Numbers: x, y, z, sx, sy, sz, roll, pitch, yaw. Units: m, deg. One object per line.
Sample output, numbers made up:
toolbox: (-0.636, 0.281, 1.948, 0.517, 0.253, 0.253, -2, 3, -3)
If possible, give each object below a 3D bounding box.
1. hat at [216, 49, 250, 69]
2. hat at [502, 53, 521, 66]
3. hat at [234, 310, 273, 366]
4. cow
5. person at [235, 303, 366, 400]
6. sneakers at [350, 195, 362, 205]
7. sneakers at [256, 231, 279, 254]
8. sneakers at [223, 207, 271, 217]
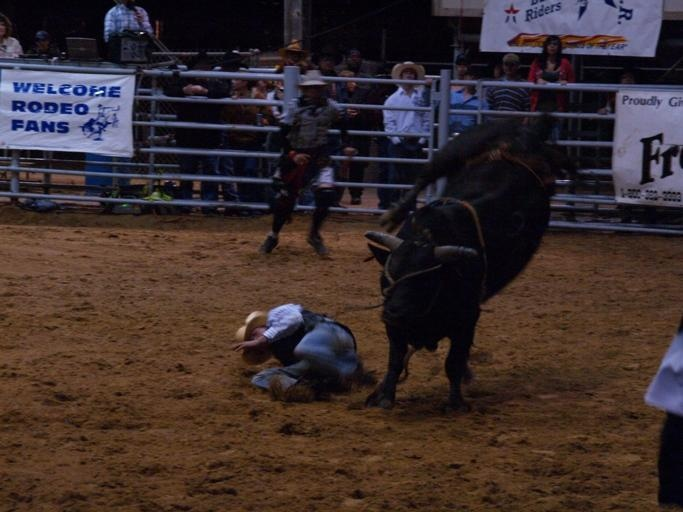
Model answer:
hat: (-1.640, -2.912, 12.586, 0.674, 0.172, 0.643, -2, 8, -5)
hat: (2.219, -2.562, 10.912, 0.264, 0.143, 0.154, -4, 11, -31)
hat: (-0.612, 0.595, 5.881, 0.217, 0.404, 0.251, 5, 11, 13)
cow: (0.864, 0.047, 5.714, 1.190, 2.038, 0.667, -4, 14, -29)
person: (-0.341, 0.664, 6.050, 0.994, 0.460, 0.466, -1, 44, -5)
sneakers: (0.227, -0.844, 12.542, 0.207, 0.106, 0.153, 2, -7, -13)
sneakers: (-0.806, -0.143, 9.363, 0.158, 0.125, 0.349, 15, 25, 16)
sneakers: (-1.384, -0.623, 11.813, 0.828, 0.094, 0.122, 2, 7, -27)
